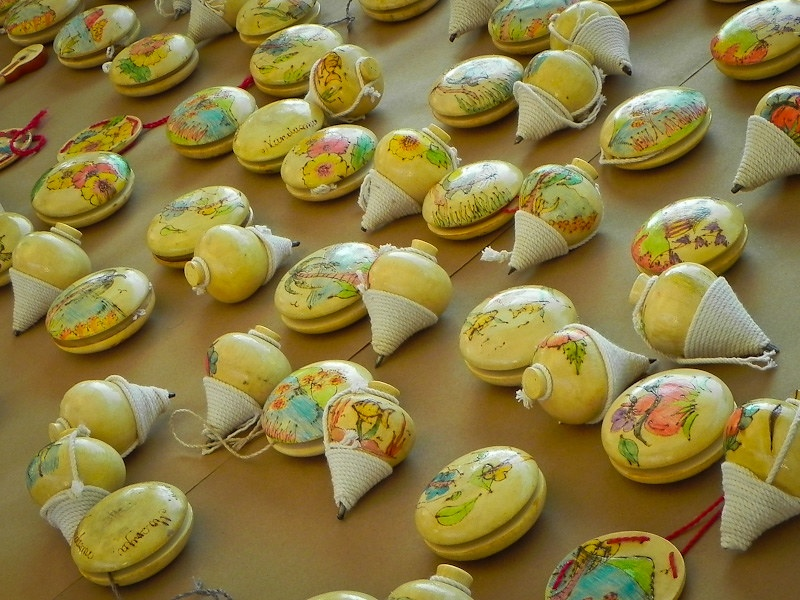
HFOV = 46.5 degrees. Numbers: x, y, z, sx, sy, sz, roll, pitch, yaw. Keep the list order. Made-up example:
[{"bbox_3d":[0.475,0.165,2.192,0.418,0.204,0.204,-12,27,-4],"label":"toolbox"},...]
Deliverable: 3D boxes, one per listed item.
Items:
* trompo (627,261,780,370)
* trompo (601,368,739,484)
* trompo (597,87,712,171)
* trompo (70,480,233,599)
[{"bbox_3d":[0.520,0.042,1.606,0.214,0.135,0.145,28,42,29],"label":"trompo"},{"bbox_3d":[0.431,0.205,1.498,0.212,0.097,0.158,-18,56,6],"label":"trompo"},{"bbox_3d":[0.515,-0.359,1.887,0.183,0.089,0.161,-34,40,-8],"label":"trompo"},{"bbox_3d":[-0.454,0.450,1.645,0.211,0.126,0.228,-33,42,-28],"label":"trompo"}]
